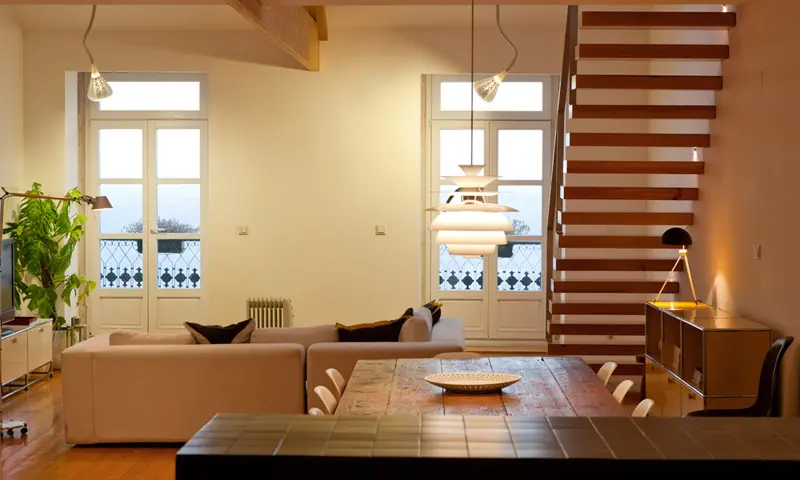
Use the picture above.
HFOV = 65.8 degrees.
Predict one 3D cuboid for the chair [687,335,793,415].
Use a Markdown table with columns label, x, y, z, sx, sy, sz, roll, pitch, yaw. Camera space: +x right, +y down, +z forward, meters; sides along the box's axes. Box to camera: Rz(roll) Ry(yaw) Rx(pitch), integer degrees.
| label | x | y | z | sx | sy | sz | roll | pitch | yaw |
| --- | --- | --- | --- | --- | --- | --- | --- | --- | --- |
| chair | 2.883 | 1.266 | 5.640 | 0.983 | 0.687 | 0.589 | -1 | -4 | 9 |

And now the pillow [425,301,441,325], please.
| label | x | y | z | sx | sy | sz | roll | pitch | yaw |
| --- | --- | --- | --- | --- | --- | --- | --- | --- | --- |
| pillow | 0.402 | 0.864 | 7.431 | 0.231 | 0.224 | 0.099 | -1 | -12 | 28 |

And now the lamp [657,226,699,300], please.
| label | x | y | z | sx | sy | sz | roll | pitch | yaw |
| --- | --- | --- | --- | --- | --- | --- | --- | --- | --- |
| lamp | 3.087 | 0.274 | 6.873 | 0.427 | 0.842 | 1.155 | -2 | -4 | 22 |

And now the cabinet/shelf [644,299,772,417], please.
| label | x | y | z | sx | sy | sz | roll | pitch | yaw |
| --- | --- | --- | --- | --- | --- | --- | --- | --- | --- |
| cabinet/shelf | 3.190 | 1.416 | 6.498 | 0.695 | 1.213 | 1.974 | -1 | 0 | 7 |
